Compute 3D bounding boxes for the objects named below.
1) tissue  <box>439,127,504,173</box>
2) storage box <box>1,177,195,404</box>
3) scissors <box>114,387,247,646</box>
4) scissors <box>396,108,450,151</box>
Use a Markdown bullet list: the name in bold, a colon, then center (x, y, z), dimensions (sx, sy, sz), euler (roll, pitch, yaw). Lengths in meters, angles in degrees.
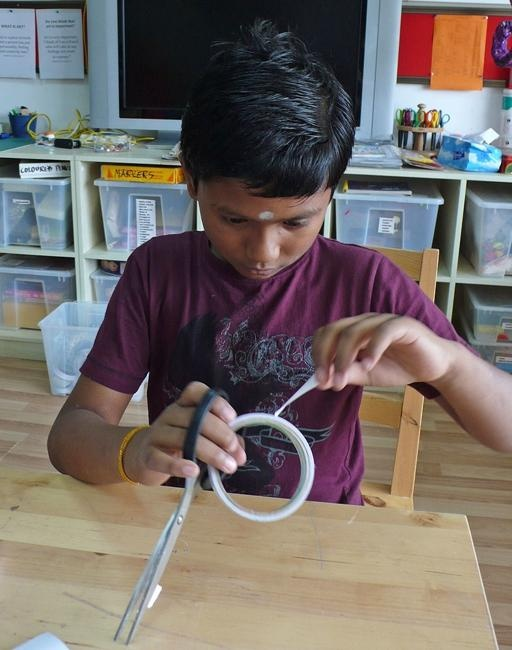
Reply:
- **tissue **: center (0.782, -0.625, 1.964), dimensions (0.280, 0.173, 0.212), euler (5, 19, 17)
- **storage box**: center (-0.581, -0.201, 2.368), dimensions (0.975, 0.891, 0.389), euler (3, 18, 8)
- **scissors**: center (-0.080, 0.162, 0.494), dimensions (0.063, 0.194, 0.147), euler (4, 14, 9)
- **scissors**: center (0.668, -0.783, 2.246), dimensions (0.147, 0.199, 0.225), euler (8, 19, 24)
